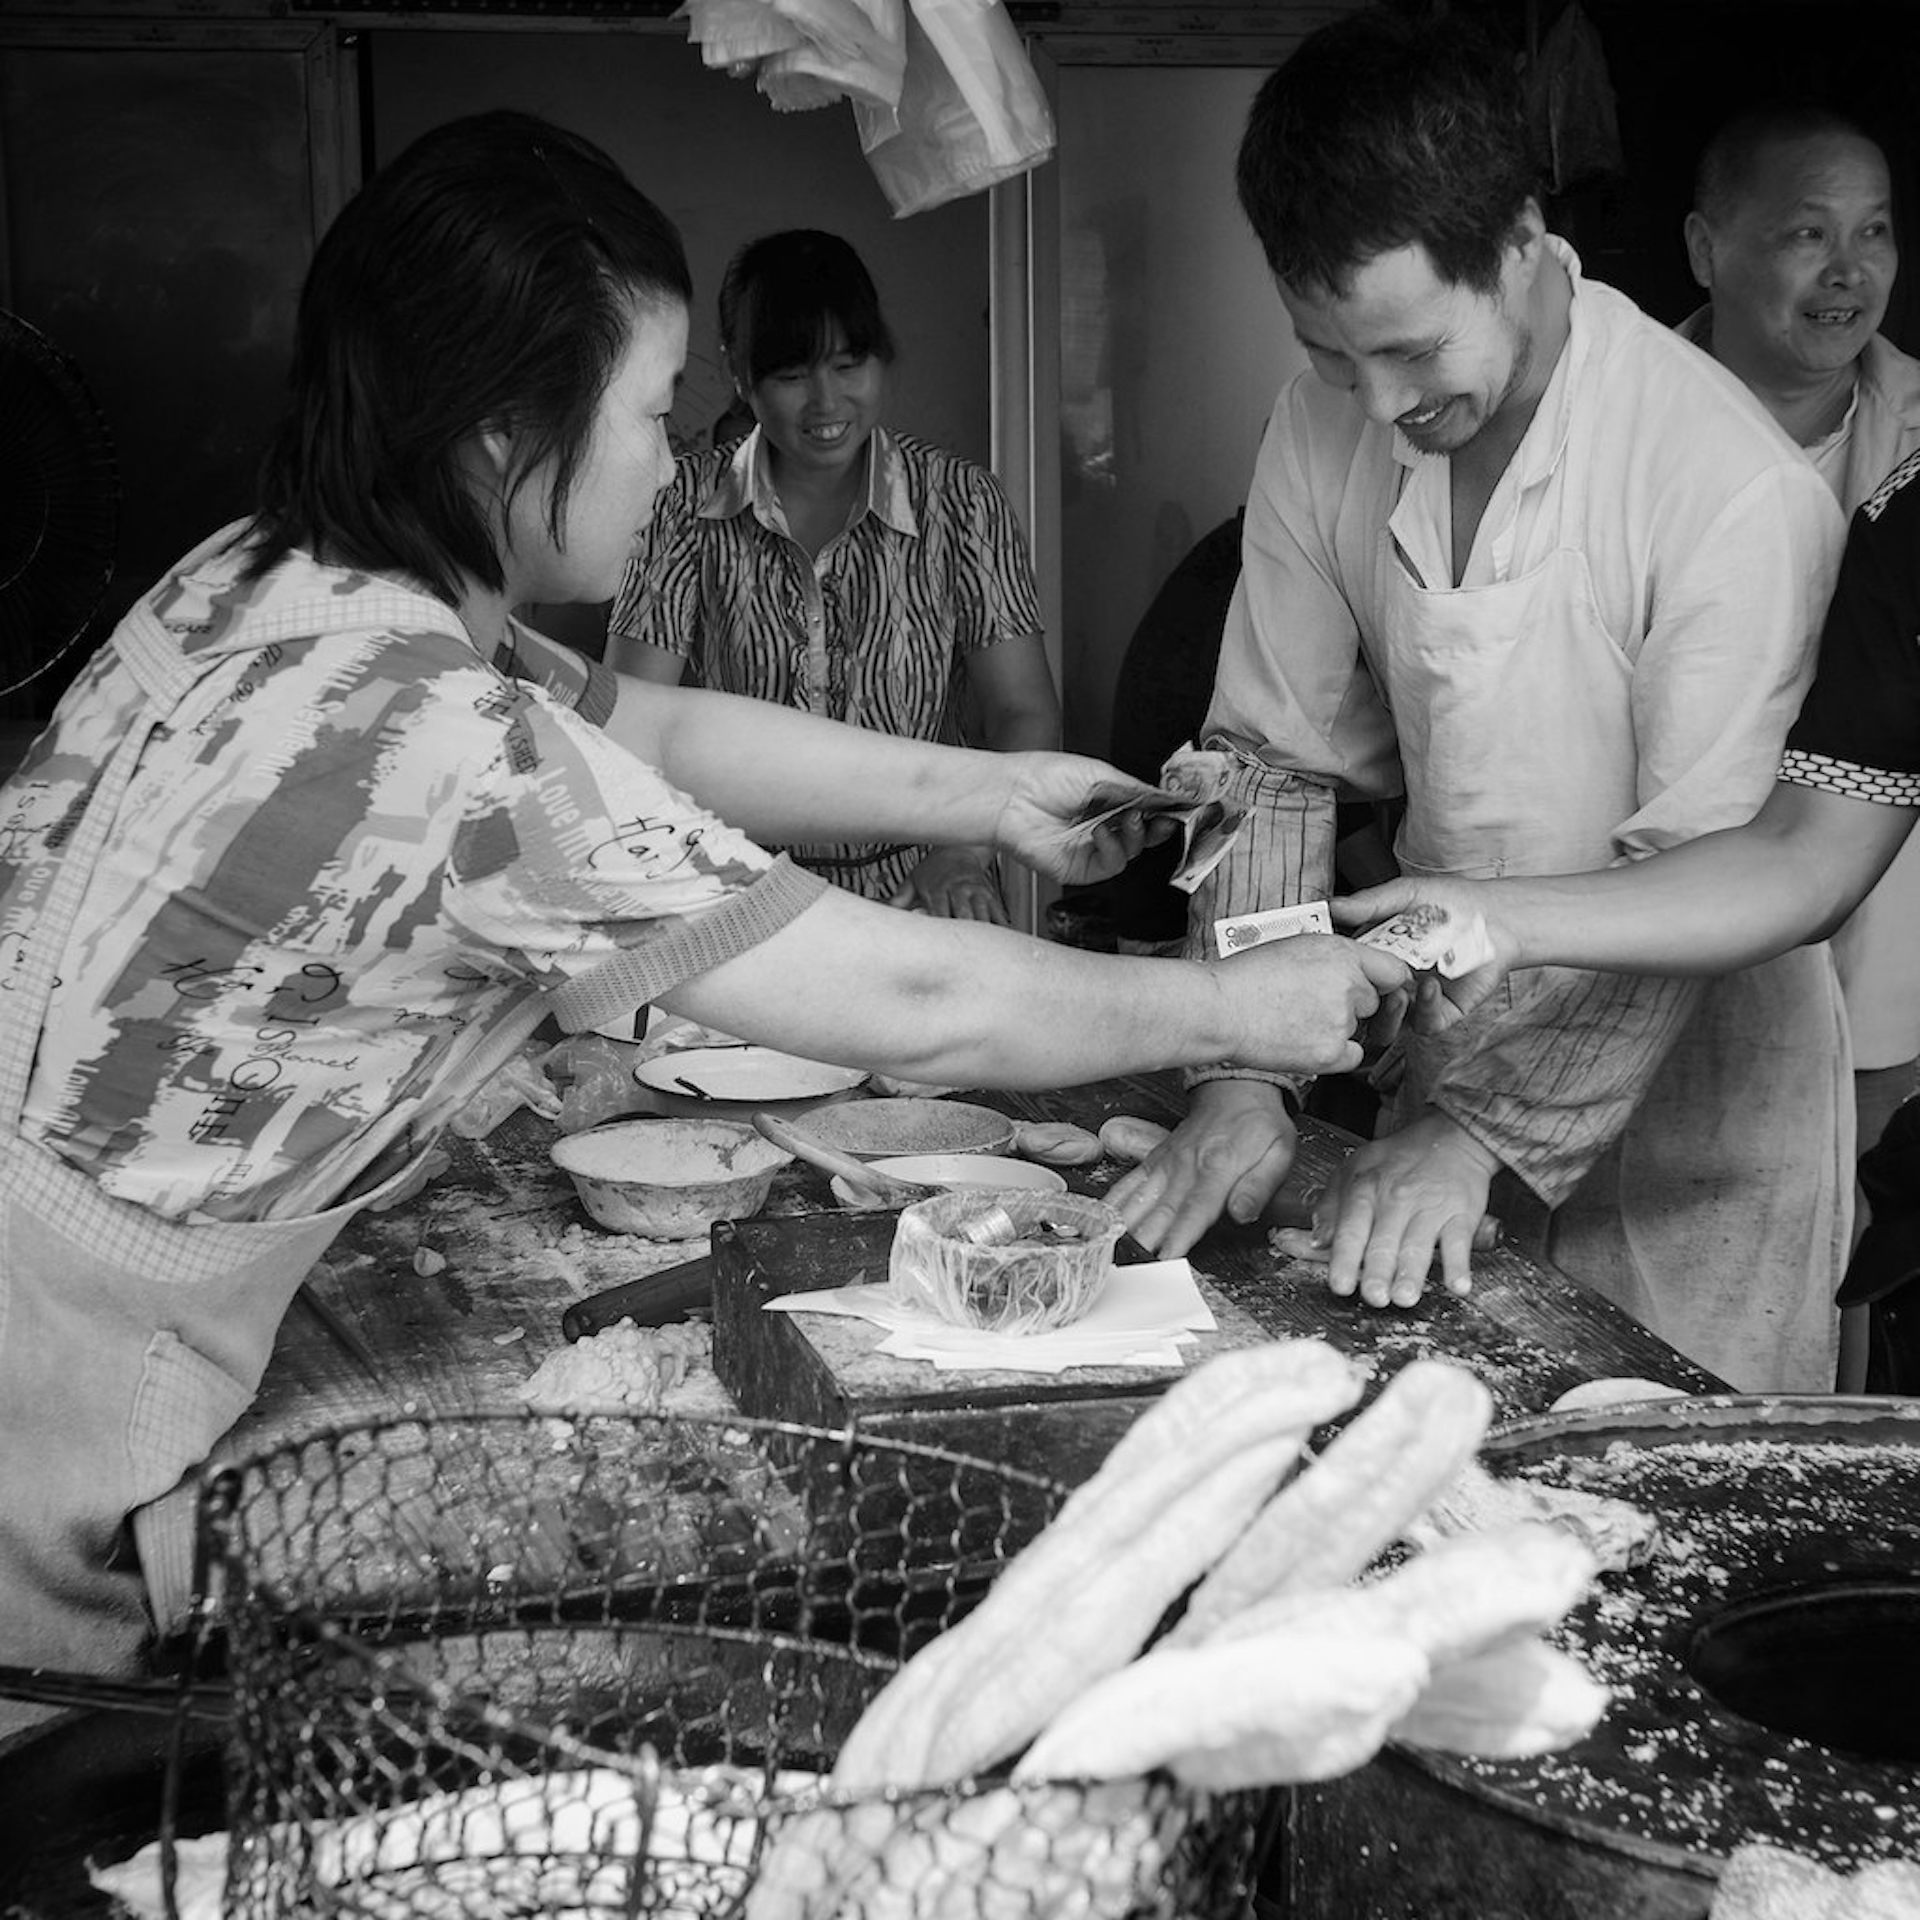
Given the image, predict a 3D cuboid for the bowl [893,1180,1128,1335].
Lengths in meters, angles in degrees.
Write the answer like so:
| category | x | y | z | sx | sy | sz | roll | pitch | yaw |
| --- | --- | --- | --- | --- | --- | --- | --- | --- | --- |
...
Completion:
| category | x | y | z | sx | sy | sz | roll | pitch | yaw |
| --- | --- | --- | --- | --- | --- | --- | --- | --- | --- |
| bowl | 0.027 | 0.233 | 1.405 | 0.187 | 0.076 | 0.157 | 2 | 1 | 36 |
